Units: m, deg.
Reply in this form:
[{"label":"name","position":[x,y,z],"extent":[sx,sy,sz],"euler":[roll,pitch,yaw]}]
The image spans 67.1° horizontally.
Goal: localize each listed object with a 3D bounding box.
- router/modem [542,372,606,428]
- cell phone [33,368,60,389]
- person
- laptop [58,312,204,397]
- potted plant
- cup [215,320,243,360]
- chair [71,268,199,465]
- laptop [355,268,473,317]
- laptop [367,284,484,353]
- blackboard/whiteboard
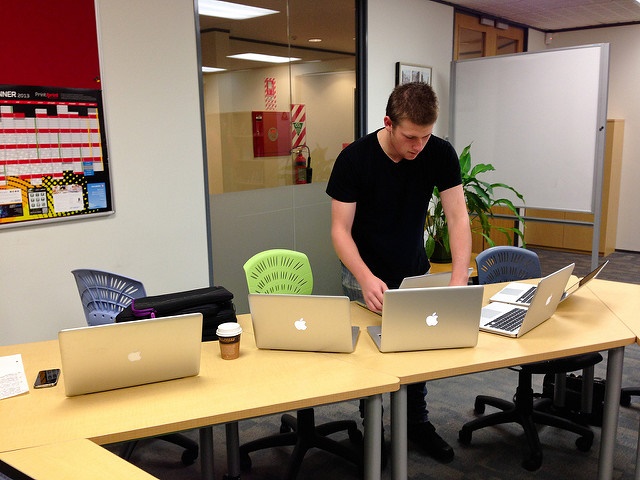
[{"label":"router/modem","position":[1.678,1.057,3.159],"extent":[0.361,0.391,0.091],"euler":[6,-3,34]},{"label":"cell phone","position":[-1.155,0.585,2.024],"extent":[0.077,0.018,0.140],"euler":[0,19,-15]},{"label":"person","position":[0.454,0.278,2.594],"extent":[0.777,2.103,0.826],"euler":[-8,12,-24]},{"label":"laptop","position":[-0.726,0.435,1.878],"extent":[0.473,0.318,0.343],"euler":[-3,13,-23]},{"label":"potted plant","position":[1.492,-0.445,4.722],"extent":[0.759,0.795,0.606],"euler":[6,4,3]},{"label":"cup","position":[-0.412,0.461,2.191],"extent":[0.124,0.139,0.127],"euler":[-2,0,0]},{"label":"chair","position":[-0.945,0.630,2.507],"extent":[0.635,1.020,0.631],"euler":[-13,-16,36]},{"label":"laptop","position":[0.351,0.227,2.074],"extent":[0.348,0.214,0.393],"euler":[-2,-5,33]},{"label":"laptop","position":[0.494,0.291,2.265],"extent":[0.465,0.322,0.382],"euler":[0,22,3]},{"label":"blackboard/whiteboard","position":[2.047,-1.052,4.721],"extent":[0.308,1.990,1.833],"euler":[-10,14,-43]}]
